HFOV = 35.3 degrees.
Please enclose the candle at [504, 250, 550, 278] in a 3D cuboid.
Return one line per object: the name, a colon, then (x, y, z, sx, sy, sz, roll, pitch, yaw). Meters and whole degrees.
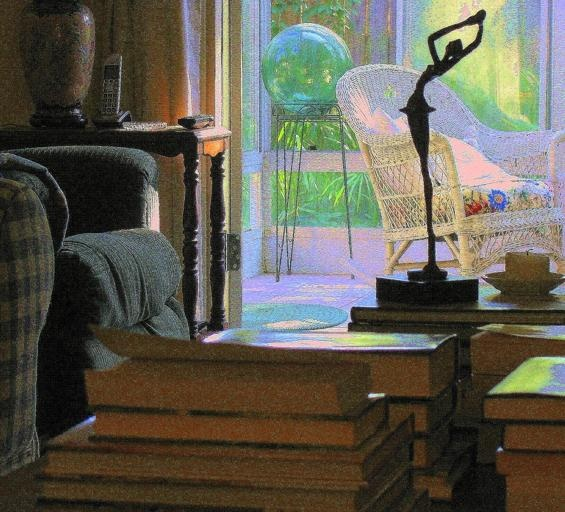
candle: (0.421, 0.011, 1.535, 0.057, 0.033, 0.057, 3, 0, 38)
